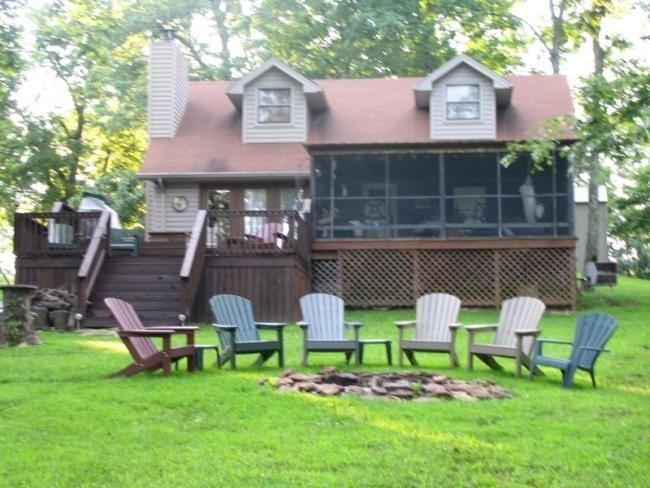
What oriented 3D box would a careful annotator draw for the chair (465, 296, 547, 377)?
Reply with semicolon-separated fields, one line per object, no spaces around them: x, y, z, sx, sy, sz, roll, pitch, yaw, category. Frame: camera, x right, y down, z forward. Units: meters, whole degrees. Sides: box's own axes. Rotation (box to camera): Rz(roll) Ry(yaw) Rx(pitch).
3.260;1.544;13.361;1.157;1.310;1.495;-1;0;42;chair

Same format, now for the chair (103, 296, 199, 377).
-2.866;1.497;12.461;1.305;1.115;1.092;1;-2;11;chair

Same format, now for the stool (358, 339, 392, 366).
0.911;1.916;13.716;0.519;0.358;0.504;0;-8;-3;stool

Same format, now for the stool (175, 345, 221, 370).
-1.990;1.813;12.814;0.550;0.372;0.544;-1;-6;5;stool

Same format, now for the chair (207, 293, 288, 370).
-1.450;1.464;13.425;1.155;1.199;1.332;2;-6;-33;chair
